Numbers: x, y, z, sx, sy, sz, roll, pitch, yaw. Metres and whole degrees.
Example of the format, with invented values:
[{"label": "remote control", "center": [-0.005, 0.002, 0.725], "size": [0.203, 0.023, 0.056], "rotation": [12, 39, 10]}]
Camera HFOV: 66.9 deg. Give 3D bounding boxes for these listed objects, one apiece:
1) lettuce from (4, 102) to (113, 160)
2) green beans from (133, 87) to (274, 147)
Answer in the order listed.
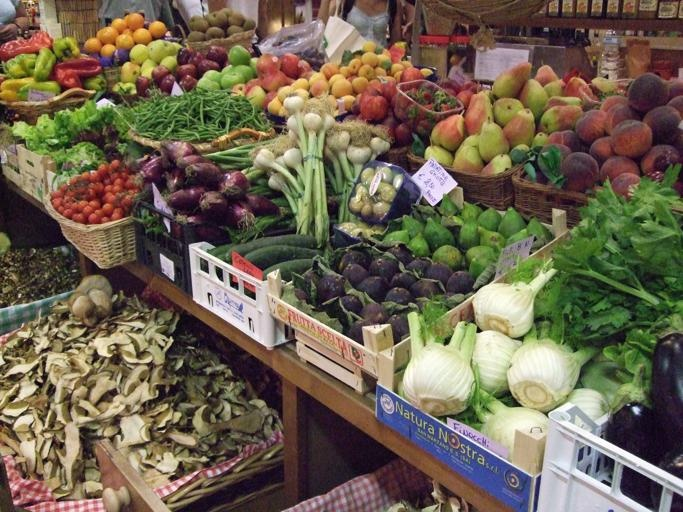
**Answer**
[{"label": "lettuce", "center": [-1.923, -0.867, 3.534], "size": [0.534, 0.280, 0.580], "rotation": [1, 10, 17]}, {"label": "green beans", "center": [-0.965, -0.934, 3.220], "size": [0.563, 0.183, 0.583], "rotation": [-8, 23, -28]}]
